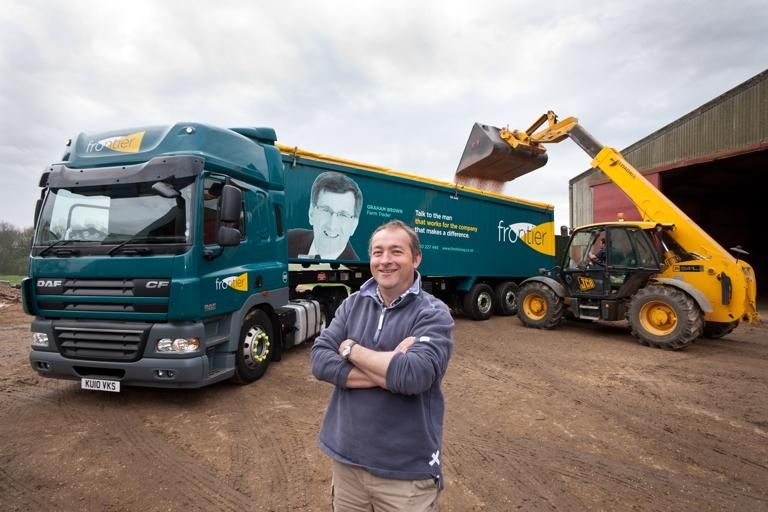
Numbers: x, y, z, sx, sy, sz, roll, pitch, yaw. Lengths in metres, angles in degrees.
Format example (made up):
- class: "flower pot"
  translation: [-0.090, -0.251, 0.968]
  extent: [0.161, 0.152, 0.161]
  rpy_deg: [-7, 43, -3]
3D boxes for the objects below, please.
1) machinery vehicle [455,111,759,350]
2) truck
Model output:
- class: "machinery vehicle"
  translation: [5.253, -0.902, 11.533]
  extent: [3.133, 6.138, 7.200]
  rpy_deg: [3, 2, -40]
- class: "truck"
  translation: [-0.141, 0.004, 11.658]
  extent: [4.208, 4.418, 14.225]
  rpy_deg: [-2, -4, 33]
